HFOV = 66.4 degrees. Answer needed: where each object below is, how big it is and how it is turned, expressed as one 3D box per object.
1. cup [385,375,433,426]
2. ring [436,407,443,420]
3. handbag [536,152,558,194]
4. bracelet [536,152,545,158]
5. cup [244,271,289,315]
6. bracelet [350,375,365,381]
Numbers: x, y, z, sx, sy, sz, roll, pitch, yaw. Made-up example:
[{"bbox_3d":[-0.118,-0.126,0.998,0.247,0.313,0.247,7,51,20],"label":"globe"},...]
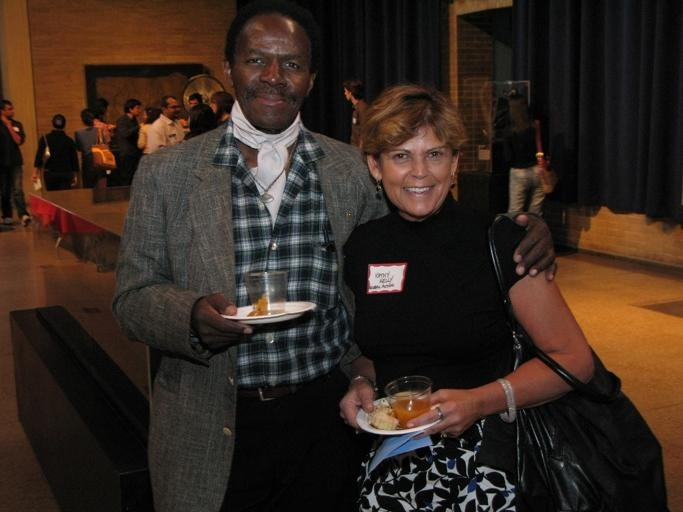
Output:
[{"bbox_3d":[0.174,0.368,1.391,0.128,0.090,0.124,-10,7,1],"label":"cup"},{"bbox_3d":[0.246,0.393,1.310,0.018,0.024,0.027,-3,14,4],"label":"ring"},{"bbox_3d":[2.540,-1.026,6.488,0.170,0.443,0.340,-18,14,14],"label":"handbag"},{"bbox_3d":[2.446,-1.248,6.428,0.086,0.071,0.081,0,-4,11],"label":"bracelet"},{"bbox_3d":[-0.193,0.095,1.338,0.110,0.109,0.107,-1,-9,0],"label":"cup"},{"bbox_3d":[0.049,0.361,1.555,0.020,0.007,0.019,5,12,29],"label":"bracelet"}]
